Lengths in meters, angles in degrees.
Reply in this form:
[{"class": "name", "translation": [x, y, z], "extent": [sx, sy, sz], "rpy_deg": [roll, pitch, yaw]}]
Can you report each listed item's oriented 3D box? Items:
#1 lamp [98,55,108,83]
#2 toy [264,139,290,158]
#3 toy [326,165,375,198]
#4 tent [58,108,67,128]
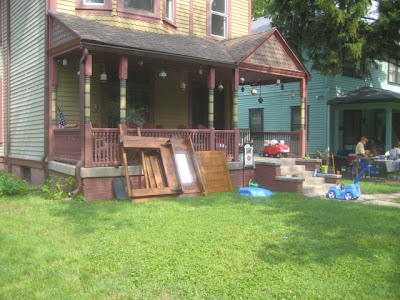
[{"class": "lamp", "translation": [-3.613, -2.959, 14.499], "extent": [0.291, 0.847, 1.394], "rpy_deg": [-2, 9, -14]}, {"class": "toy", "translation": [3.709, -0.065, 18.486], "extent": [0.701, 0.733, 1.008], "rpy_deg": [-2, 2, -43]}, {"class": "toy", "translation": [4.886, 1.001, 12.806], "extent": [1.238, 1.306, 0.696], "rpy_deg": [4, 0, 43]}, {"class": "tent", "translation": [-4.985, -1.195, 14.019], "extent": [0.277, 0.693, 0.993], "rpy_deg": [-3, 9, -19]}]
